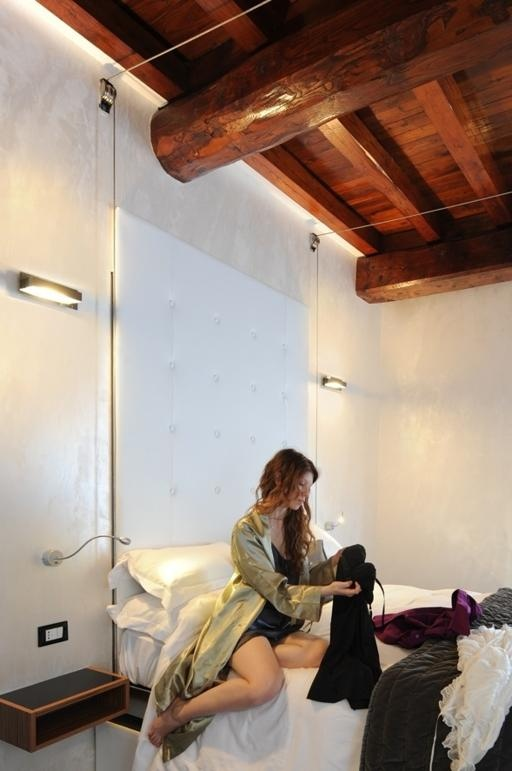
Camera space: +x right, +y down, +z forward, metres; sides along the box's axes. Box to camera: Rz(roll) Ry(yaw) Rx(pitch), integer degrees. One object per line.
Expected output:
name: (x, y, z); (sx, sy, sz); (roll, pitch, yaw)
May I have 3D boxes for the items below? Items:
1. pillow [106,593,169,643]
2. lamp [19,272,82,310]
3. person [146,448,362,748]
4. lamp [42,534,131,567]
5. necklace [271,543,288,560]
pillow: (-0.412, 0.875, 2.294); (0.171, 0.052, 0.156); (18, 11, 34)
lamp: (-0.739, -0.345, 2.295); (0.107, 0.086, 0.338); (1, -4, 21)
person: (0.008, 0.797, 2.241); (0.806, 1.124, 0.470); (2, -8, 14)
lamp: (-0.654, 0.628, 2.352); (0.358, 0.119, 0.073); (-4, 14, -43)
necklace: (0.088, 0.657, 2.472); (0.050, 0.064, 0.047); (-18, 0, 45)
